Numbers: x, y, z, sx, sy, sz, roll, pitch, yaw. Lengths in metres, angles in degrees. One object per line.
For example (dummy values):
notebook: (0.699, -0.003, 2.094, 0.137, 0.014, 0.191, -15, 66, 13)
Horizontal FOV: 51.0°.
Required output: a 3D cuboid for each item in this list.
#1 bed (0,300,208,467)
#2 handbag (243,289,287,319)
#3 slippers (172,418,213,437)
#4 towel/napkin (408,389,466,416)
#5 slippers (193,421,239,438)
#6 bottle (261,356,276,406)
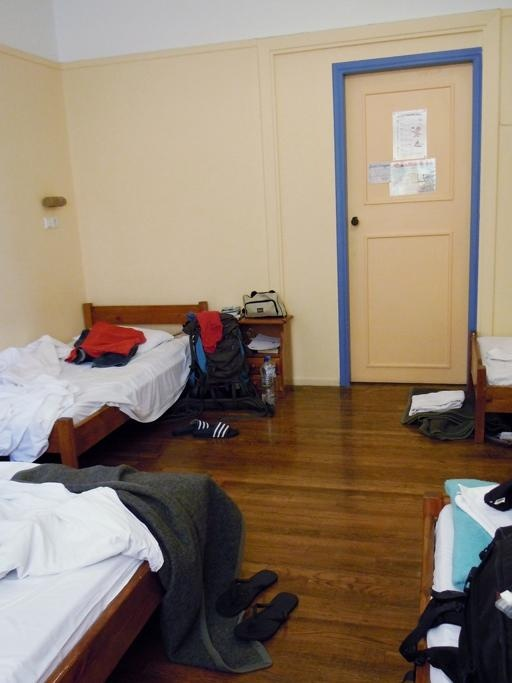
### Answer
bed: (-0.867, 0.498, 3.810, 0.822, 1.424, 0.600, 5, -26, -11)
handbag: (0.052, -0.251, 3.612, 0.332, 0.209, 0.173, -2, 3, 10)
slippers: (-0.367, 0.505, 3.111, 0.148, 0.043, 0.103, -7, 15, -11)
towel/napkin: (1.088, 0.361, 3.235, 0.307, 0.065, 0.432, 1, 12, 21)
slippers: (-0.250, 0.508, 3.091, 0.199, 0.052, 0.104, 0, 13, 9)
bottle: (0.082, 0.256, 3.531, 0.105, 0.315, 0.291, -3, 11, 1)
